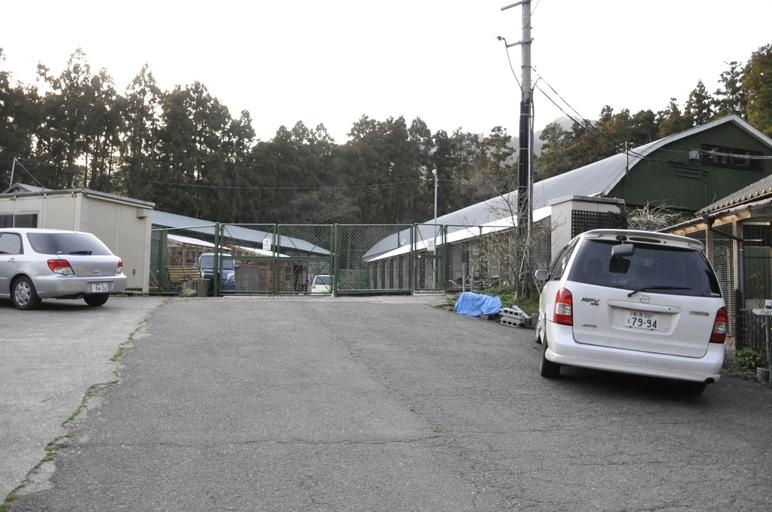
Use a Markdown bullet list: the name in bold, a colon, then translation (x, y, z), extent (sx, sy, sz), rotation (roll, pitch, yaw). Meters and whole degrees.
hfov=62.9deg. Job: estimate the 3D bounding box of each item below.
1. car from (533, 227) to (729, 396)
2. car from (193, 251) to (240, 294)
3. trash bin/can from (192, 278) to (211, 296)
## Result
- **car**: translation (3.432, 0.643, 9.577), extent (1.603, 1.312, 2.776), rotation (4, 2, 5)
- **car**: translation (-6.323, 0.559, 23.748), extent (1.176, 1.217, 2.172), rotation (0, -9, -6)
- **trash bin/can**: translation (-6.363, 1.103, 21.969), extent (0.527, 0.788, 0.553), rotation (2, -6, 2)
